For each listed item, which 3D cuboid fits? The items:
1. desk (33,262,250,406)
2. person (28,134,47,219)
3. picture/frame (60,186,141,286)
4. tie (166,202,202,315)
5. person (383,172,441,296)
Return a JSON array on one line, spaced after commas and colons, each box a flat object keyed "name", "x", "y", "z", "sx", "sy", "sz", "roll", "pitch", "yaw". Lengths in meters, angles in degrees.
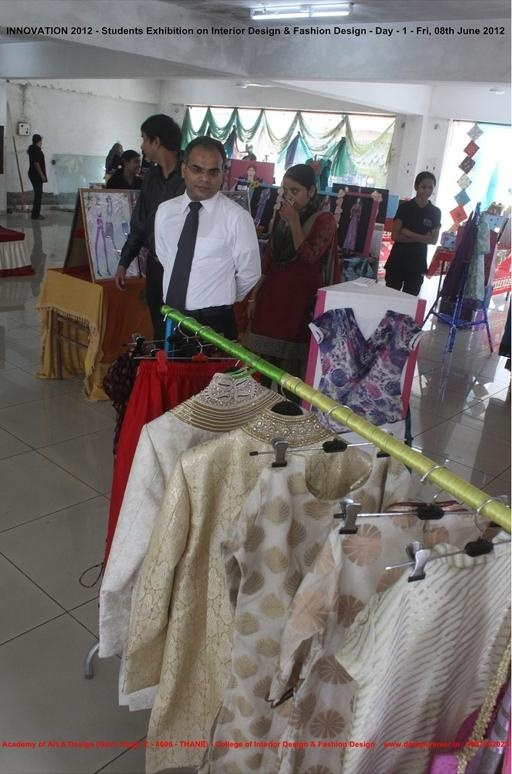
[{"name": "desk", "x": -0.904, "y": -0.411, "z": 4.363, "sx": 1.004, "sy": 1.187, "sz": 1.219, "roll": -11, "pitch": 23, "yaw": -37}, {"name": "person", "x": -4.914, "y": -4.690, "z": 12.506, "sx": 0.363, "sy": 1.762, "sz": 1.341, "roll": -1, "pitch": 21, "yaw": -22}, {"name": "picture/frame", "x": -1.202, "y": -1.198, "z": 4.346, "sx": 0.417, "sy": 0.654, "sz": 0.532, "roll": 20, "pitch": 26, "yaw": 24}, {"name": "tie", "x": -0.371, "y": -0.657, "z": 2.807, "sx": 0.128, "sy": 0.523, "sz": 0.223, "roll": 12, "pitch": 20, "yaw": 15}, {"name": "person", "x": 1.634, "y": -1.591, "z": 5.822, "sx": 0.469, "sy": 1.218, "sz": 0.464, "roll": 10, "pitch": 19, "yaw": 10}]
